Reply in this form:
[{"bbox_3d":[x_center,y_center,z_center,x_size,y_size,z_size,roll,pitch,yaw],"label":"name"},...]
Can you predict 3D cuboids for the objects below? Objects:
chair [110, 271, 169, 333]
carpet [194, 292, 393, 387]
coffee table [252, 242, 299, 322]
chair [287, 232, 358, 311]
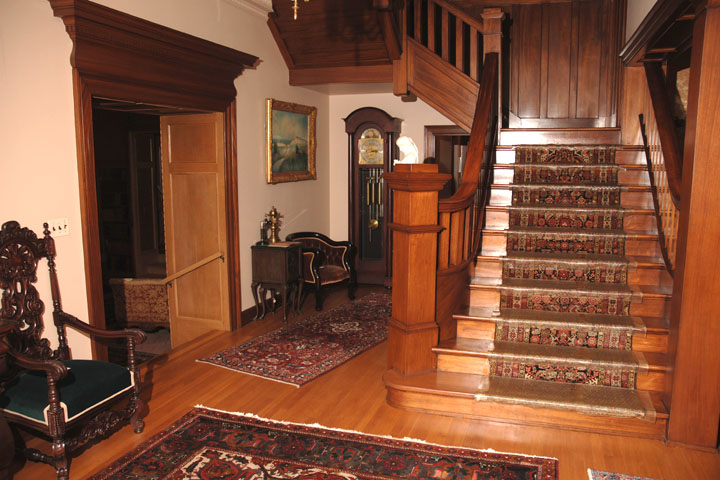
[{"bbox_3d":[-3.386,0.938,8.366,1.098,0.767,1.066,0,2,6],"label":"chair"},{"bbox_3d":[-0.453,1.186,6.368,1.364,0.097,2.654,9,16,35],"label":"carpet"},{"bbox_3d":[-1.143,0.534,7.102,0.666,0.935,0.687,0,3,1],"label":"coffee table"},{"bbox_3d":[-0.575,0.387,7.793,0.790,0.897,0.806,-8,14,-43],"label":"chair"}]
